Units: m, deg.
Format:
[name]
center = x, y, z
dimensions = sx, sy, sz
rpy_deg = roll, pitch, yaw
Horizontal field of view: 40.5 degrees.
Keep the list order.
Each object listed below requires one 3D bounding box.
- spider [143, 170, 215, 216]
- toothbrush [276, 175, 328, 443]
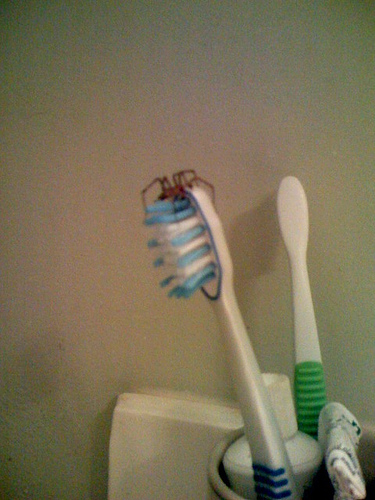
[spider]
center = -0.008, -0.057, 0.470
dimensions = 0.058, 0.017, 0.056
rpy_deg = -10, -9, 20
[toothbrush]
center = 0.108, 0.050, 0.448
dimensions = 0.032, 0.247, 0.015
rpy_deg = -3, -15, 11
